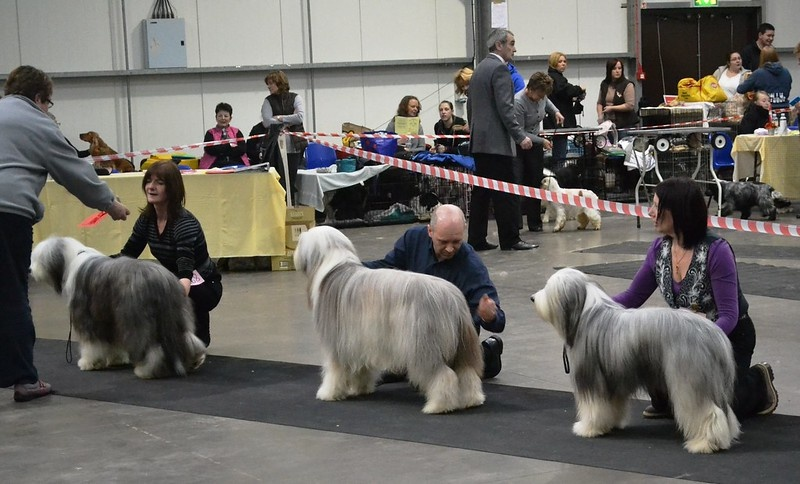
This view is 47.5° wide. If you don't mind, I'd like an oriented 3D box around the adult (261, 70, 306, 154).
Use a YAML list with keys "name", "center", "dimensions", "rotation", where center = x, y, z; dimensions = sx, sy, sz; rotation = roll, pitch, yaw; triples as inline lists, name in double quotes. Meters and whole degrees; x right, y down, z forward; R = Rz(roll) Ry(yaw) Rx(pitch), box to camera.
- name: "adult"
  center: [-1.592, -1.785, 12.352]
  dimensions: [0.562, 1.129, 0.823]
  rotation: [-5, 7, -8]

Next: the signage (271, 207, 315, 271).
- name: "signage"
  center: [-1.222, -0.156, 10.587]
  dimensions: [0.446, 0.580, 0.470]
  rotation: [1, 17, 0]

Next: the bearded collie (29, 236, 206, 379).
- name: "bearded collie"
  center: [-2.300, 0.489, 7.327]
  dimensions: [1.439, 1.114, 0.651]
  rotation: [-1, 4, 21]

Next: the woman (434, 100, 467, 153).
- name: "woman"
  center: [0.724, -1.703, 13.825]
  dimensions: [0.594, 0.882, 0.541]
  rotation: [-2, -3, 31]

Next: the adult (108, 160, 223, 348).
- name: "adult"
  center: [-2.019, 0.249, 7.526]
  dimensions: [0.967, 1.804, 0.988]
  rotation: [-3, 0, 21]

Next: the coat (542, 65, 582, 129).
- name: "coat"
  center: [2.374, -2.203, 13.510]
  dimensions: [0.439, 1.016, 0.430]
  rotation: [-14, 36, -11]

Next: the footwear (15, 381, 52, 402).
- name: "footwear"
  center: [-2.746, 1.108, 6.855]
  dimensions: [0.288, 0.133, 0.102]
  rotation: [-7, 10, -30]

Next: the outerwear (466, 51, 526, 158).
- name: "outerwear"
  center: [1.112, -1.602, 10.510]
  dimensions: [0.640, 1.200, 0.360]
  rotation: [-3, 7, 6]

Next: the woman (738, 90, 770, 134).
- name: "woman"
  center: [4.966, -1.851, 12.818]
  dimensions: [0.572, 0.578, 0.470]
  rotation: [-9, 9, -36]

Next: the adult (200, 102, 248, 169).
- name: "adult"
  center: [-2.614, -1.592, 13.463]
  dimensions: [0.715, 1.012, 0.642]
  rotation: [-8, 19, -24]

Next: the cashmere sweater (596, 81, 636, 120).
- name: "cashmere sweater"
  center: [3.401, -2.274, 14.634]
  dimensions: [0.644, 0.682, 0.670]
  rotation: [-10, 16, -31]

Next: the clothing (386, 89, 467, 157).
- name: "clothing"
  center: [0.462, -1.685, 13.577]
  dimensions: [0.707, 1.031, 1.432]
  rotation: [1, -10, -35]

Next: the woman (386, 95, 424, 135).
- name: "woman"
  center: [0.095, -1.895, 13.709]
  dimensions: [0.662, 0.658, 0.353]
  rotation: [5, 3, -38]

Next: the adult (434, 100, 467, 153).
- name: "adult"
  center: [0.738, -1.694, 13.805]
  dimensions: [0.610, 0.880, 0.611]
  rotation: [-2, -9, 9]

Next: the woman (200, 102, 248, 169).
- name: "woman"
  center: [-2.620, -1.591, 13.483]
  dimensions: [0.722, 1.012, 0.621]
  rotation: [-5, 17, -18]

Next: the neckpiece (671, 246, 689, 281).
- name: "neckpiece"
  center: [1.883, 0.137, 6.114]
  dimensions: [0.101, 0.220, 0.048]
  rotation: [1, -5, 20]

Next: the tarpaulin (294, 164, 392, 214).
- name: "tarpaulin"
  center: [-0.720, -0.755, 12.842]
  dimensions: [1.269, 0.397, 1.313]
  rotation: [-5, -8, 43]

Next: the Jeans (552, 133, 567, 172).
- name: "Jeans"
  center: [2.347, -1.359, 13.471]
  dimensions: [0.210, 0.834, 0.223]
  rotation: [-2, 23, 10]

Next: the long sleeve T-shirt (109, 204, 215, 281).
- name: "long sleeve T-shirt"
  center: [-1.898, -0.018, 7.459]
  dimensions: [0.740, 0.547, 0.554]
  rotation: [11, 18, 35]

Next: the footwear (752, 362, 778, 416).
- name: "footwear"
  center: [2.510, 0.983, 6.195]
  dimensions: [0.184, 0.412, 0.136]
  rotation: [-5, -2, -13]

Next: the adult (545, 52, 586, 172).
- name: "adult"
  center: [2.542, -2.049, 13.579]
  dimensions: [0.575, 1.713, 0.564]
  rotation: [-4, -16, 1]

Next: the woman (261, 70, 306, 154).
- name: "woman"
  center: [-1.600, -1.606, 12.573]
  dimensions: [0.572, 1.505, 0.510]
  rotation: [-6, 12, -22]

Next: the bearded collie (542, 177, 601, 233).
- name: "bearded collie"
  center: [2.226, -0.542, 12.129]
  dimensions: [0.868, 0.680, 0.453]
  rotation: [1, 6, -2]

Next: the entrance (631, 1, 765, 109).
- name: "entrance"
  center: [5.415, -3.524, 16.881]
  dimensions: [2.820, 2.912, 0.198]
  rotation: [-4, 4, -24]

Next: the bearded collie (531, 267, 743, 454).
- name: "bearded collie"
  center: [1.537, 0.768, 6.002]
  dimensions: [1.257, 1.088, 0.588]
  rotation: [1, 6, 30]

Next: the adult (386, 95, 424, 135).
- name: "adult"
  center: [0.087, -1.894, 13.704]
  dimensions: [0.647, 0.659, 0.353]
  rotation: [7, 0, -39]

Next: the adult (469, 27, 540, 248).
- name: "adult"
  center: [1.183, -1.215, 10.821]
  dimensions: [0.840, 2.631, 0.899]
  rotation: [1, 1, -36]
